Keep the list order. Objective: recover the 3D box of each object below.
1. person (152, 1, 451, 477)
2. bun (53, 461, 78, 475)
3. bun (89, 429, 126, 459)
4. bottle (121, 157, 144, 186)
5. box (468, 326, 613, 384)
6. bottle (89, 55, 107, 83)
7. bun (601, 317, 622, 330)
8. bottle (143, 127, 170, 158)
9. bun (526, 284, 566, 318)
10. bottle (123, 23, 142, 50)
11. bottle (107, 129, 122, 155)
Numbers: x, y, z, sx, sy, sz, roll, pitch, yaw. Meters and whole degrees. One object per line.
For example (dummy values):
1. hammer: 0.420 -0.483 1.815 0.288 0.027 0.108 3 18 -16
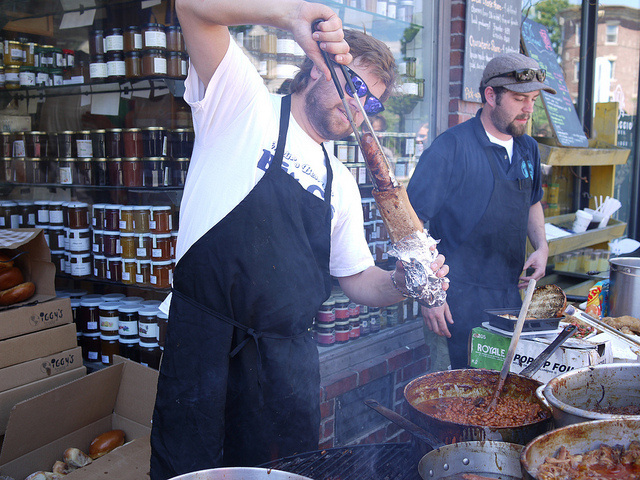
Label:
1. person: -0.201 -0.039 2.709 1.077 1.795 0.507 -5 10 -2
2. bun: -1.403 1.235 3.617 0.125 0.051 0.080 -2 11 15
3. bun: -1.211 1.140 3.807 0.110 0.132 0.194 24 29 38
4. bottle: -1.115 -0.404 3.969 0.141 0.215 0.159 0 4 3
5. box: 0.916 0.460 2.787 0.327 0.209 0.560 -13 13 -42
6. bottle: -1.383 -1.047 4.097 0.066 0.164 0.200 -14 14 -42
7. bun: 1.279 0.356 2.921 0.045 0.029 0.061 -11 35 -37
8. bottle: -0.993 -0.586 3.978 0.152 0.184 0.161 -3 9 -18
9. bun: 0.983 0.271 2.896 0.156 0.124 0.200 -1 12 22
10. bottle: -1.112 -1.186 3.936 0.160 0.145 0.046 2 12 33
11. bottle: -1.251 -0.594 4.038 0.113 0.154 0.028 2 12 33
